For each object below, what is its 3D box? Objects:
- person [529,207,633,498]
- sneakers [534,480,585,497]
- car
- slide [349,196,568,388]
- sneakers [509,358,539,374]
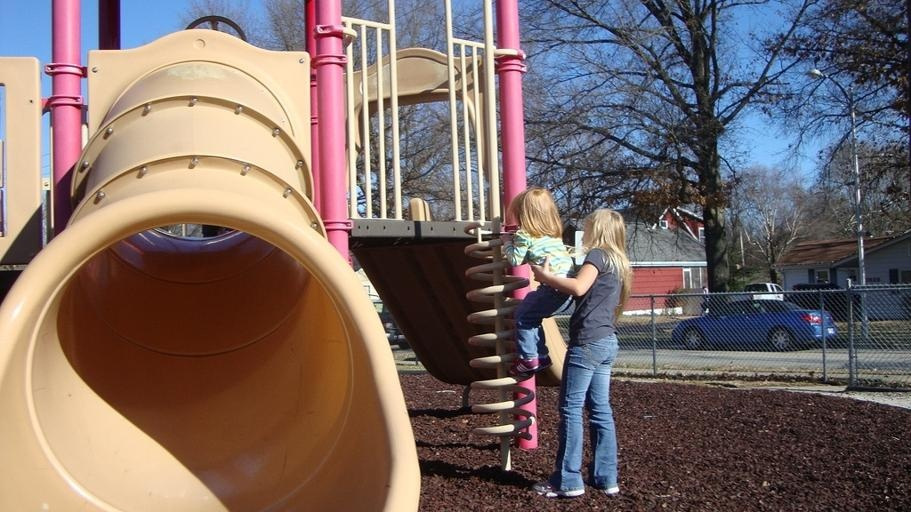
[{"bbox_3d":[1.358,0.967,8.099,1.003,2.853,0.702,-6,10,-43],"label":"person"},{"bbox_3d":[1.064,2.302,8.116,0.514,0.231,0.186,-2,-4,10],"label":"sneakers"},{"bbox_3d":[6.471,1.369,17.503,3.037,0.970,1.308,1,-7,14],"label":"car"},{"bbox_3d":[0.024,0.204,10.370,2.259,2.261,0.525,11,40,36],"label":"slide"},{"bbox_3d":[0.724,1.121,8.199,0.259,0.179,0.126,0,-2,7],"label":"sneakers"}]
